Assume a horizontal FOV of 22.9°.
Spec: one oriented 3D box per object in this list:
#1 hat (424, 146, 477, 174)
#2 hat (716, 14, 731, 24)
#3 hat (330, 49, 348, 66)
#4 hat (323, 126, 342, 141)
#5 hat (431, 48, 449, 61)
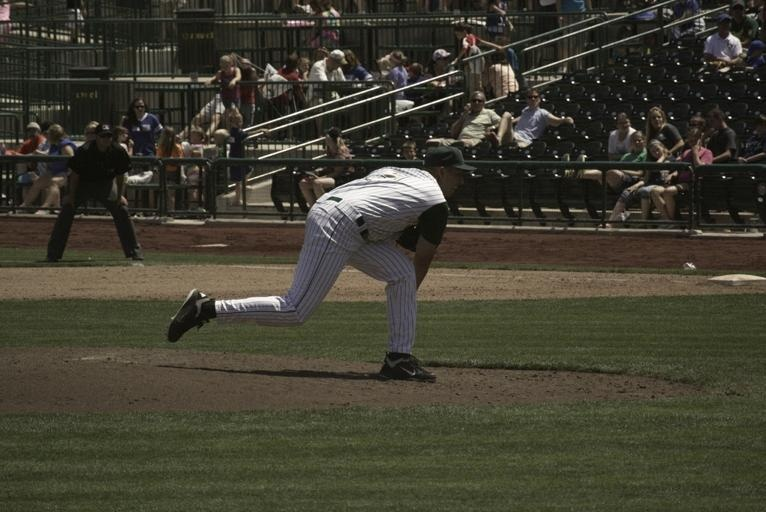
[{"bbox_3d":[0.881,-1.248,24.848,0.596,0.245,0.352,2,6,-7],"label":"hat"},{"bbox_3d":[6.280,-4.369,34.604,0.203,0.156,0.288,3,-10,4],"label":"hat"},{"bbox_3d":[-0.923,-3.844,36.506,0.342,0.127,0.243,26,13,31],"label":"hat"},{"bbox_3d":[-0.932,-2.163,33.531,0.312,0.228,0.307,-15,-10,13],"label":"hat"},{"bbox_3d":[1.136,-3.920,36.691,0.334,0.155,0.215,-16,18,-28],"label":"hat"}]
